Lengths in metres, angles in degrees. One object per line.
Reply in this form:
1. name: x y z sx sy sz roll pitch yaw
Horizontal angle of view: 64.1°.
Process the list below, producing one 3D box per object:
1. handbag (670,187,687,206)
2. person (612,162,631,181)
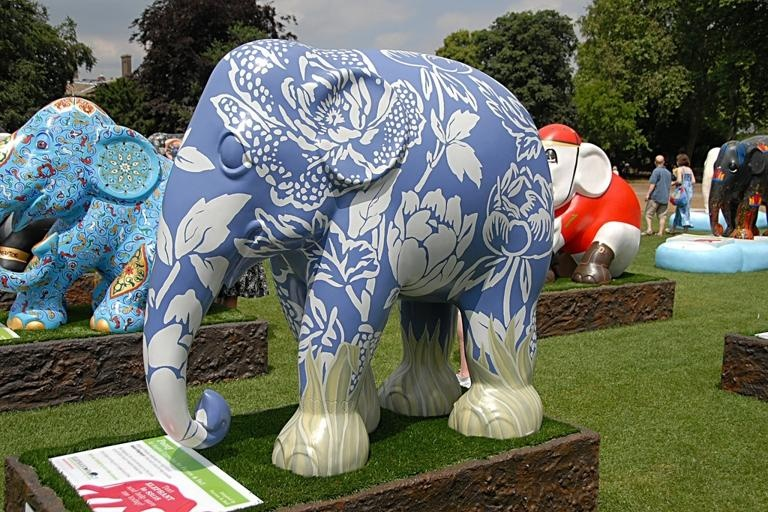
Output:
1. handbag: 6.746 -1.348 13.983 0.388 0.464 0.305 -3 11 -19
2. person: 15.955 -5.847 41.143 0.870 0.921 2.453 5 12 23
